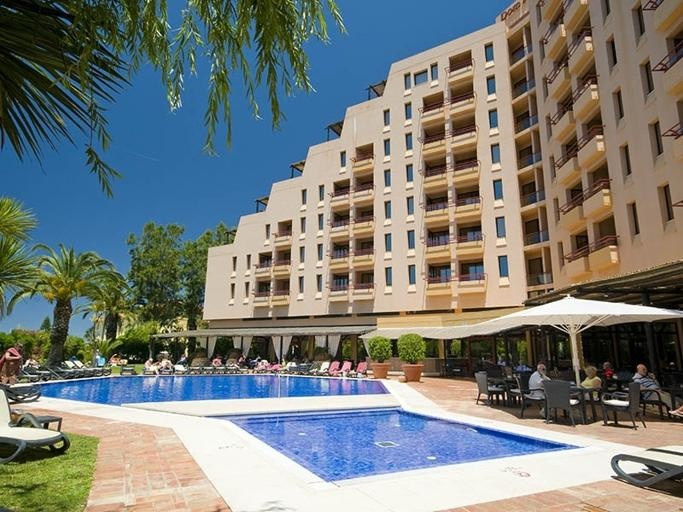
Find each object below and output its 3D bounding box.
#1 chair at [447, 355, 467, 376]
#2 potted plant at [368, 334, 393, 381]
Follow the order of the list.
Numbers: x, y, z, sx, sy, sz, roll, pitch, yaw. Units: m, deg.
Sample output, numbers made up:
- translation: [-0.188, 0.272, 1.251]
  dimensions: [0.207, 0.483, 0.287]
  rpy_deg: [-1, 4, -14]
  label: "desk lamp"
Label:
- translation: [8.367, 7.959, 30.875]
  dimensions: [0.803, 1.336, 1.502]
  rpy_deg: [12, -21, -35]
  label: "chair"
- translation: [2.396, 6.219, 26.206]
  dimensions: [2.099, 3.370, 1.984]
  rpy_deg: [-2, -16, 6]
  label: "potted plant"
